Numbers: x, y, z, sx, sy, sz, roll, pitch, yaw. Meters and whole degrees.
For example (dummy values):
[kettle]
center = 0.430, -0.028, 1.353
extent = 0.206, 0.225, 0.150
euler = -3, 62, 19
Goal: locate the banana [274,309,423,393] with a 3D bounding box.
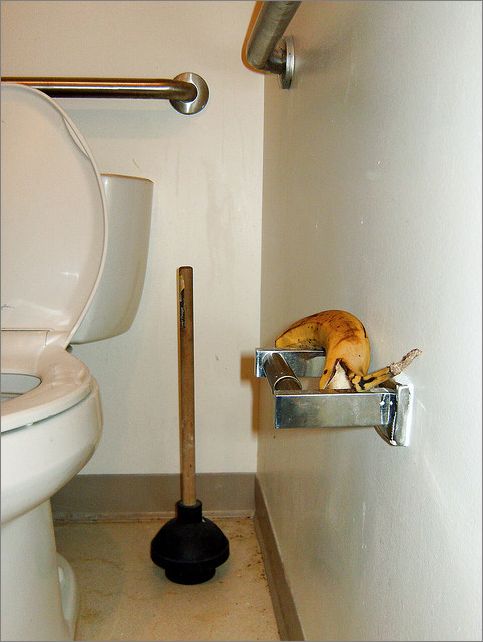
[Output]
[banana]
center = 0.080, 0.017, 0.515
extent = 0.045, 0.034, 0.110
euler = -4, 12, -5
